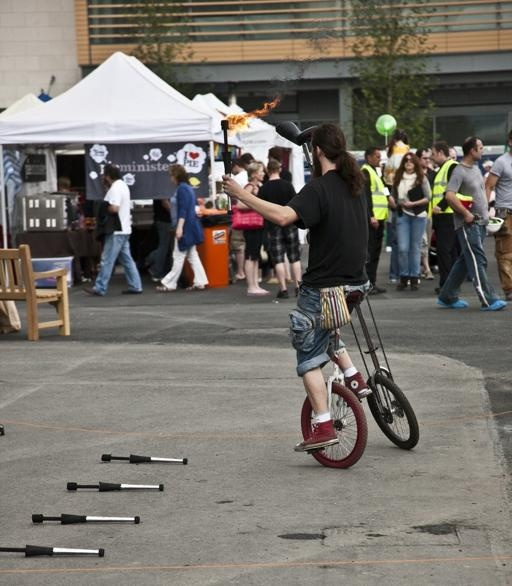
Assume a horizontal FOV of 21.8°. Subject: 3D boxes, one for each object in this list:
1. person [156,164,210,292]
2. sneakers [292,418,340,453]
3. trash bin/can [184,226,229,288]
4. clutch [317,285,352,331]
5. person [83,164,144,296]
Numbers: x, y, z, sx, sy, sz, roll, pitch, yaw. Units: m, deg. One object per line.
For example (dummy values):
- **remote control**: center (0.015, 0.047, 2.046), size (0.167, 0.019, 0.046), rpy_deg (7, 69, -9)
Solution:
- **person**: center (-0.858, -0.806, 17.075), size (0.635, 1.543, 0.579), rpy_deg (1, 1, 30)
- **sneakers**: center (0.363, 0.782, 7.569), size (0.191, 0.197, 0.370), rpy_deg (2, 6, 30)
- **trash bin/can**: center (-0.632, -0.521, 17.922), size (0.543, 0.839, 0.691), rpy_deg (-2, 8, -8)
- **clutch**: center (0.450, 0.101, 7.535), size (0.184, 0.293, 0.215), rpy_deg (-10, -18, 5)
- **person**: center (-1.814, -0.794, 16.832), size (0.749, 1.577, 0.556), rpy_deg (0, 1, 3)
